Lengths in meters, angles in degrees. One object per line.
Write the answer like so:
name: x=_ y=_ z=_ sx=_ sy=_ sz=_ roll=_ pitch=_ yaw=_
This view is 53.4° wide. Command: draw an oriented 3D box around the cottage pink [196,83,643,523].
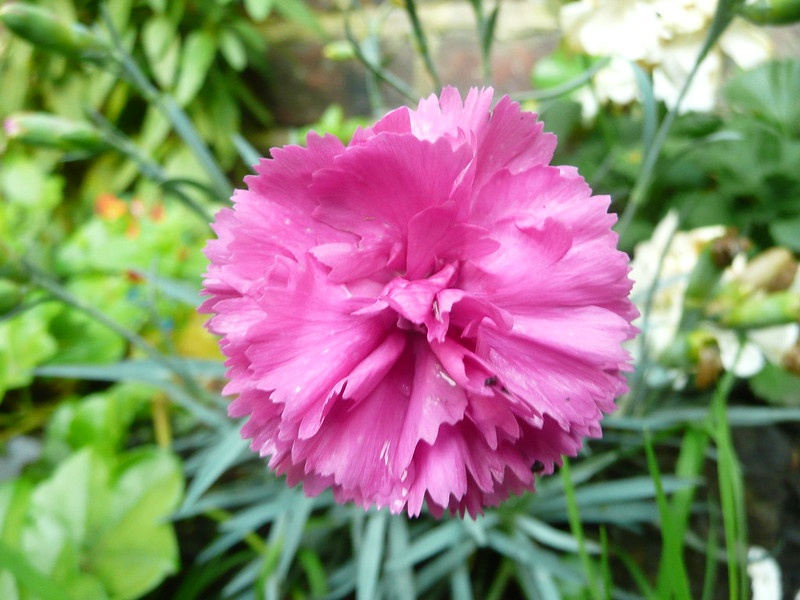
cottage pink: x=0.042 y=0.010 z=0.843 sx=0.427 sy=0.412 sz=0.244 roll=44 pitch=-24 yaw=36

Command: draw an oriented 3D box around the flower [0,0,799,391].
flower: x=-0.006 y=-0.105 z=0.862 sx=0.405 sy=0.430 sz=0.166 roll=-2 pitch=26 yaw=20
